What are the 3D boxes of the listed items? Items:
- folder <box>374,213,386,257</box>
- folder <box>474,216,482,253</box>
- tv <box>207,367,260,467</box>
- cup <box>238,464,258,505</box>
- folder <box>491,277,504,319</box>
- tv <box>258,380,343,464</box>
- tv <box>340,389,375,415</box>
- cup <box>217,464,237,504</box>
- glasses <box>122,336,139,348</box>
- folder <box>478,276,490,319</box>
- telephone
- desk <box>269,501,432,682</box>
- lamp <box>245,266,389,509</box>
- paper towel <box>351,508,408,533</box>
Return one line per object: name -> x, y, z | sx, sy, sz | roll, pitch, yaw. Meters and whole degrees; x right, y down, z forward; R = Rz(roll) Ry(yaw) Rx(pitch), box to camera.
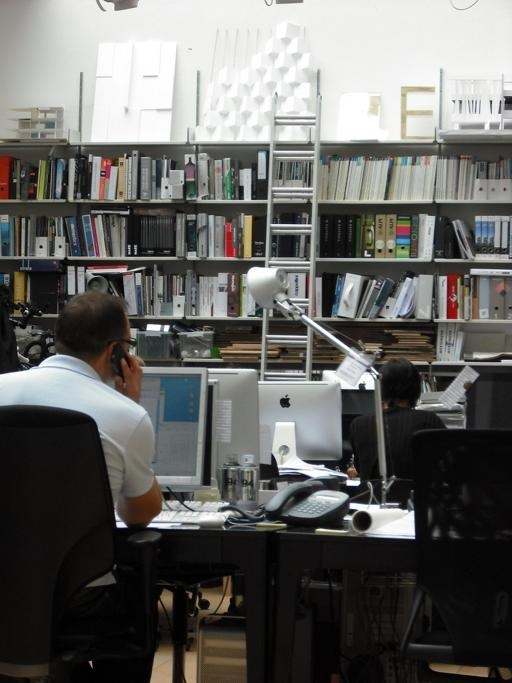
folder -> 0.822, -0.697, 4.826 | 0.074, 0.273, 0.028 | 1, 3, 0
folder -> 1.462, -0.705, 4.812 | 0.042, 0.242, 0.136 | 2, 4, 11
tv -> -0.120, 0.224, 2.250 | 0.249, 0.263, 0.138 | 1, 8, -24
cup -> -0.021, 0.407, 2.089 | 0.076, 0.141, 0.086 | 0, -1, -5
folder -> 1.571, -0.286, 4.733 | 0.084, 0.284, 0.257 | -1, 1, 13
tv -> 0.159, 0.293, 2.701 | 0.297, 0.296, 0.113 | 1, 10, 4
tv -> 0.513, 0.304, 3.644 | 0.127, 0.120, 0.121 | 1, -8, -3
cup -> -0.083, 0.403, 2.113 | 0.038, 0.106, 0.085 | 0, 4, -20
glasses -> -0.302, 0.003, 1.721 | 0.033, 0.037, 0.011 | 0, 2, 1
folder -> 1.489, -0.291, 4.744 | 0.078, 0.259, 0.253 | 0, 4, 8
telephone -> 0.134, 0.379, 1.793 | 0.107, 0.057, 0.136 | -3, 0, 36
desk -> 0.222, 0.530, 1.663 | 0.331, 0.336, 0.346 | 1, 1, 12
lamp -> 0.185, 0.133, 2.304 | 0.489, 0.732, 0.487 | 2, 4, 11
paper towel -> 0.291, 0.424, 1.721 | 0.050, 0.054, 0.252 | 1, -7, 26
